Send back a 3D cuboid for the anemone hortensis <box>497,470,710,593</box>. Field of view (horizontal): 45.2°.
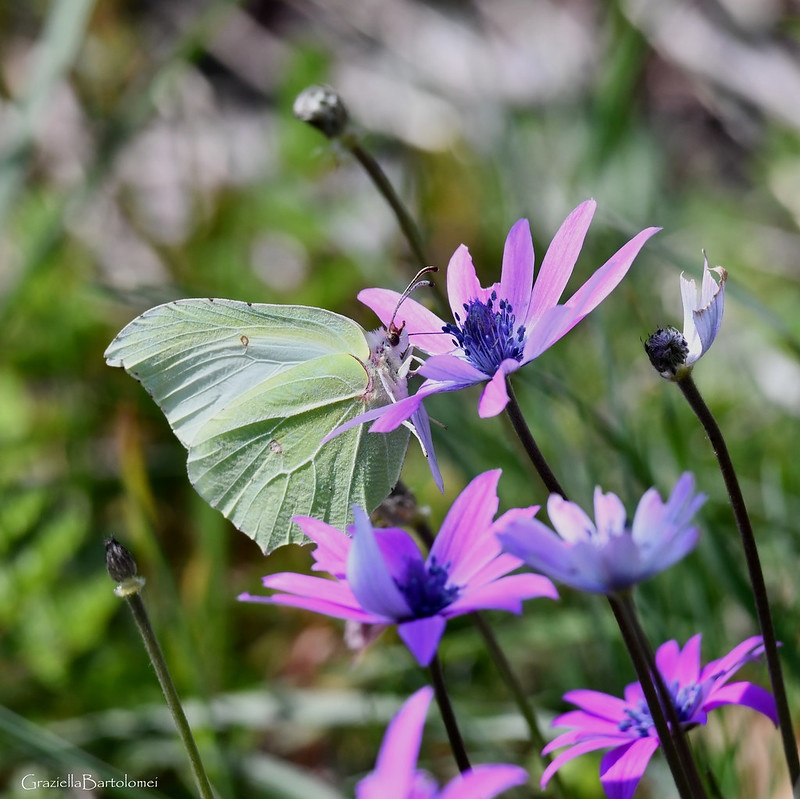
[{"bbox_3d":[0.210,0.135,0.942,0.171,0.120,0.192,-16,-4,33],"label":"anemone hortensis"}]

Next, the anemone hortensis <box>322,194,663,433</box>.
[{"bbox_3d":[0.116,-0.097,1.211,0.437,0.106,0.393,-46,15,-7],"label":"anemone hortensis"}]
